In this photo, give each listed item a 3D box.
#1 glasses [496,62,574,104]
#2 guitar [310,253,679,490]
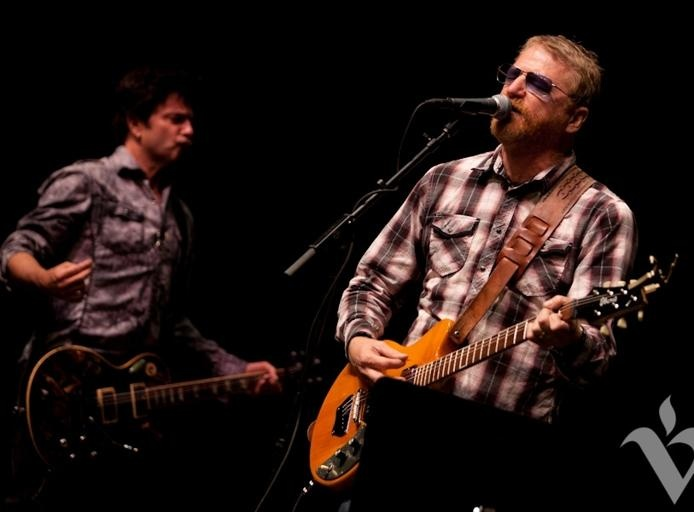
[{"bbox_3d":[0.752,-0.718,2.664,0.210,0.062,0.218,30,14,38],"label":"glasses"},{"bbox_3d":[0.438,0.423,2.433,0.191,1.694,0.678,41,36,-19],"label":"guitar"}]
